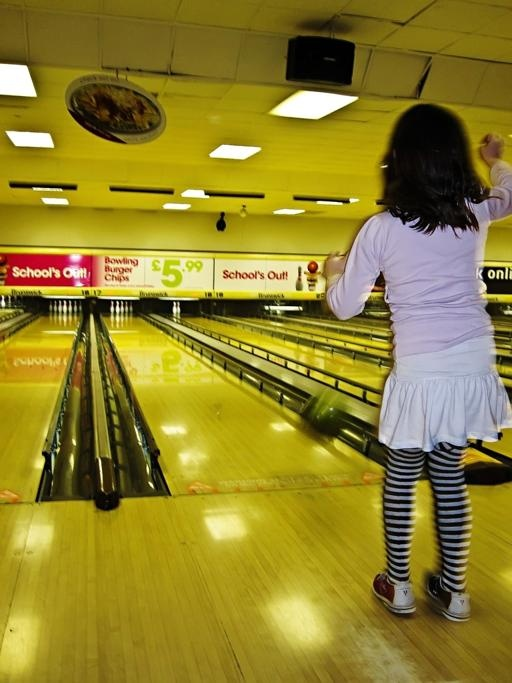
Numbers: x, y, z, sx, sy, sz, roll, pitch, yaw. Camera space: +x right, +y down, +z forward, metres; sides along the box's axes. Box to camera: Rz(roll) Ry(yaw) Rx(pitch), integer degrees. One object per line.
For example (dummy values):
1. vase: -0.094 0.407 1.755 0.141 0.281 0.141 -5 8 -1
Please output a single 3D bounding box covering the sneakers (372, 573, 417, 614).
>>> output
1. sneakers: 0.328 0.574 1.093 0.047 0.048 0.115 1 7 -5
